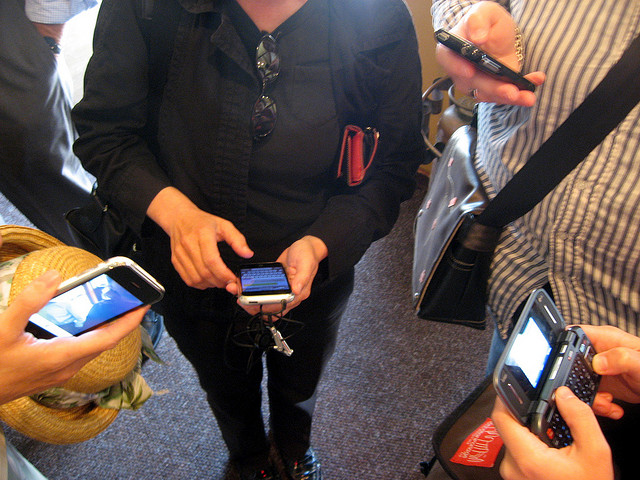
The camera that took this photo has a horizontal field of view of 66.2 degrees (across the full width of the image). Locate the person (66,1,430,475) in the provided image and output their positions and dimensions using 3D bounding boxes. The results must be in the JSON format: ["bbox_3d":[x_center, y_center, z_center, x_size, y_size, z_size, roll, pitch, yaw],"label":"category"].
[{"bbox_3d":[-0.220,0.098,1.570,0.964,1.506,0.663,9,42,2],"label":"person"}]

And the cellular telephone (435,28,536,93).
[{"bbox_3d":[0.410,-0.441,1.188,0.275,0.032,0.155,24,15,-36],"label":"cellular telephone"}]

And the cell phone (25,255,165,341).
[{"bbox_3d":[-0.510,0.127,1.092,0.258,0.150,0.030,-23,42,3],"label":"cell phone"}]

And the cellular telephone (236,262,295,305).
[{"bbox_3d":[-0.143,0.107,1.278,0.147,0.026,0.131,-1,45,-9],"label":"cellular telephone"}]

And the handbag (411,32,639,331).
[{"bbox_3d":[0.518,-0.133,1.212,0.249,0.678,0.515,8,51,-2],"label":"handbag"}]
